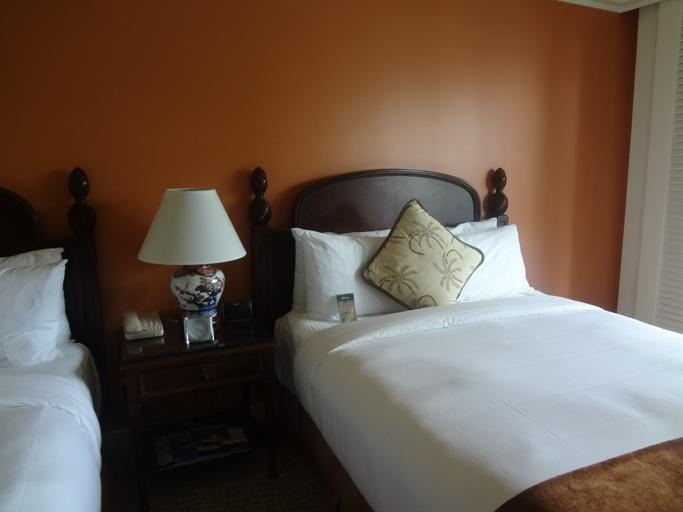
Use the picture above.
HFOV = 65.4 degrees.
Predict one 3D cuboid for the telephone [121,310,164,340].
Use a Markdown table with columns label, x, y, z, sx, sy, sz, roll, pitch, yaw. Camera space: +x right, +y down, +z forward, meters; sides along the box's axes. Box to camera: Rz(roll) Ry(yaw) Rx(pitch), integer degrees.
| label | x | y | z | sx | sy | sz | roll | pitch | yaw |
| --- | --- | --- | --- | --- | --- | --- | --- | --- | --- |
| telephone | -1.050 | 0.366 | 2.790 | 0.145 | 0.060 | 0.172 | -8 | 34 | -19 |

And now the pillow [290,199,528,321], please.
| label | x | y | z | sx | sy | sz | roll | pitch | yaw |
| --- | --- | --- | --- | --- | --- | --- | --- | --- | --- |
| pillow | 0.406 | 0.043 | 3.241 | 1.432 | 0.582 | 0.475 | -9 | 13 | -14 |

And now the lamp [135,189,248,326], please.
| label | x | y | z | sx | sy | sz | roll | pitch | yaw |
| --- | --- | --- | --- | --- | --- | --- | --- | --- | --- |
| lamp | -0.791 | -0.002 | 2.877 | 0.515 | 0.710 | 0.532 | -5 | 9 | -21 |
